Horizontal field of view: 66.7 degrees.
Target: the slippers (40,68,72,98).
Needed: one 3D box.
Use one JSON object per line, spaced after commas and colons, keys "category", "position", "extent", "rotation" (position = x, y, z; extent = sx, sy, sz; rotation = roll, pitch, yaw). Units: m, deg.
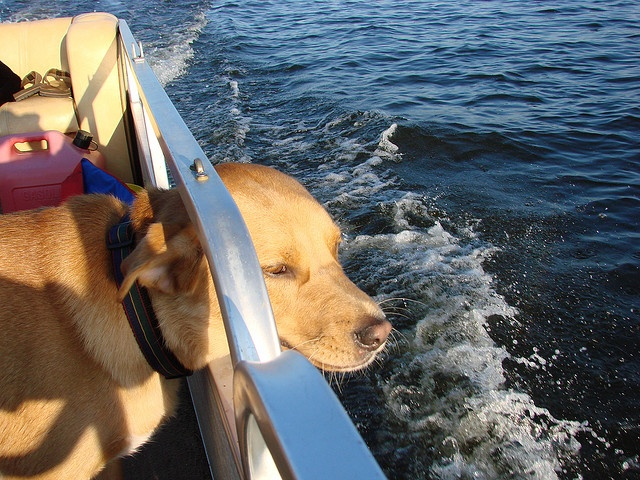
{"category": "slippers", "position": [-2.791, -1.640, 5.142], "extent": [0.300, 0.161, 0.477], "rotation": [-7, 34, -21]}
